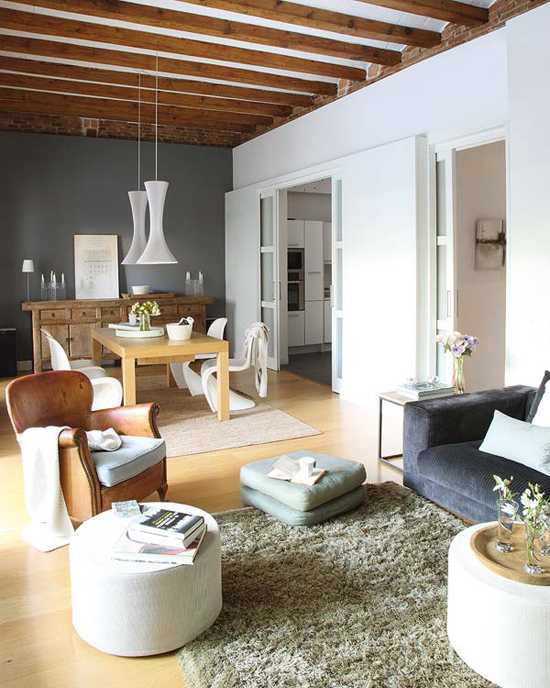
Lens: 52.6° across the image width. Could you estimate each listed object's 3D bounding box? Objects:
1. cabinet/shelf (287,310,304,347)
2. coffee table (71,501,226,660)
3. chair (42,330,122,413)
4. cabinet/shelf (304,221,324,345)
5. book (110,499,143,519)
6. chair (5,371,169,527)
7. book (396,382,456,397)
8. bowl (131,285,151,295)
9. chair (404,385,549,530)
[{"bbox_3d":[0.334,-0.259,8.662,0.289,0.537,0.215,-2,5,-7],"label":"cabinet/shelf"},{"bbox_3d":[-0.481,0.802,1.945,0.530,0.381,0.438,1,6,20],"label":"coffee table"},{"bbox_3d":[-1.633,0.186,4.708,0.592,0.885,0.544,-5,13,-20],"label":"chair"},{"bbox_3d":[0.605,-0.956,8.720,0.455,1.907,0.199,-5,6,-35],"label":"cabinet/shelf"},{"bbox_3d":[-0.578,0.641,2.191,0.077,0.022,0.081,-2,11,-16],"label":"book"},{"bbox_3d":[-0.938,0.541,2.945,0.688,0.775,0.774,1,6,23],"label":"chair"},{"bbox_3d":[0.963,0.288,3.594,0.159,0.039,0.167,-5,7,-35],"label":"book"},{"bbox_3d":[-1.884,-0.776,7.871,0.163,0.100,0.163,-1,2,0],"label":"bowl"},{"bbox_3d":[1.092,0.543,2.903,0.642,0.467,0.674,1,4,-23],"label":"chair"}]
